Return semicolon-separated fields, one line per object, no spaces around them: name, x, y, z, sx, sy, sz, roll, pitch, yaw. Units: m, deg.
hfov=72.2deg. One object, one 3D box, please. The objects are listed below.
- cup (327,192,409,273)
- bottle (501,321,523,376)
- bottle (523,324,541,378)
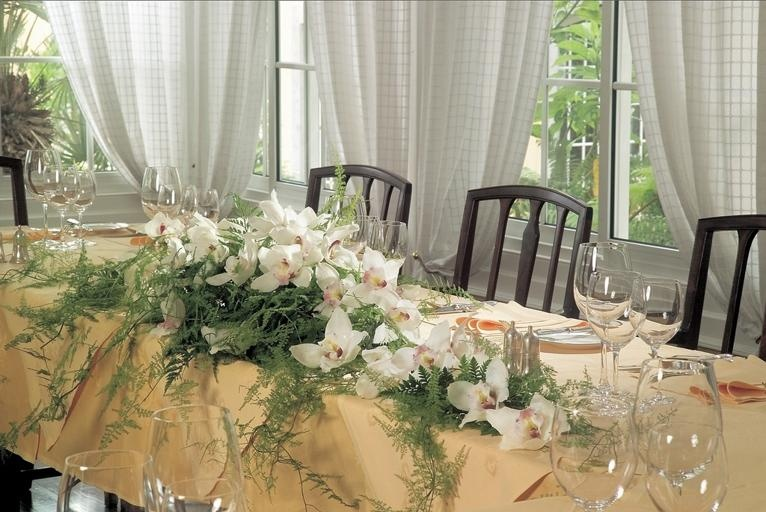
cup;-0.078;-0.051;1.375;0.189;0.275;0.184;3;2;0
bottle;0.237;0.172;0.958;0.040;0.077;0.118;6;8;14
bottle;0.270;0.177;0.959;0.031;0.069;0.116;7;8;16
